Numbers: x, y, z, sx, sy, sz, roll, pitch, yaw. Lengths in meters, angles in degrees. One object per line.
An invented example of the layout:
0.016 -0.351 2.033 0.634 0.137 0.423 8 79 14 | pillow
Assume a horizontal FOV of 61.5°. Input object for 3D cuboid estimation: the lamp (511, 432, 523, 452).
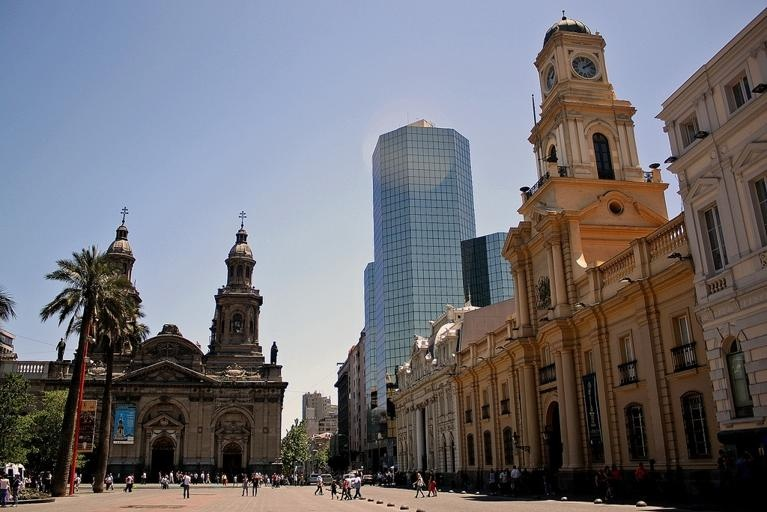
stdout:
10.311 14.285 49.659 0.425 1.416 1.379 6 -25 -16 | lamp
